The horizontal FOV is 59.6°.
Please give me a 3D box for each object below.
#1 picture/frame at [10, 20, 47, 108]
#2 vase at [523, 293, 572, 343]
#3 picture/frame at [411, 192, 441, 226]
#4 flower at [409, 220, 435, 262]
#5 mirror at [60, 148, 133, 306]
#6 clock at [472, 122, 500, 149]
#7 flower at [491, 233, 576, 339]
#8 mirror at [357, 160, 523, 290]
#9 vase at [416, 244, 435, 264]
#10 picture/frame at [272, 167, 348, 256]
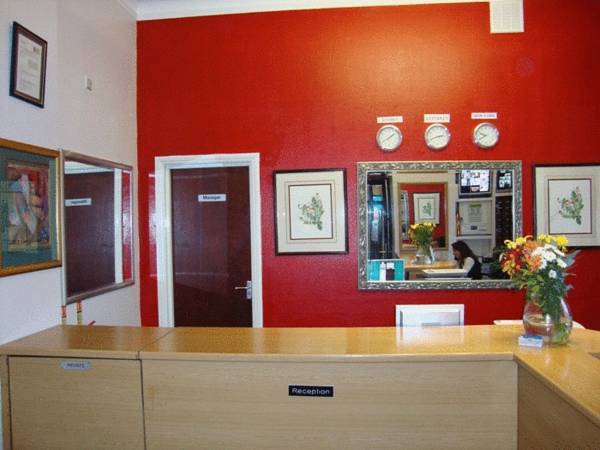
[{"bbox_3d":[-1.982,-1.145,3.780,0.059,0.572,0.307,0,2,20],"label":"picture/frame"},{"bbox_3d":[1.683,0.600,3.532,0.294,0.320,0.293,7,14,33],"label":"vase"},{"bbox_3d":[1.197,-0.141,4.942,0.282,0.389,0.015,1,-7,0],"label":"picture/frame"},{"bbox_3d":[1.161,0.157,4.948,0.218,0.367,0.052,0,2,12],"label":"flower"},{"bbox_3d":[-1.709,0.026,4.691,0.050,1.168,1.146,-4,-1,24],"label":"mirror"},{"bbox_3d":[1.766,-0.851,4.959,0.214,0.261,0.043,-1,-2,3],"label":"clock"},{"bbox_3d":[1.633,0.421,3.815,0.591,0.895,0.610,0,-1,-10],"label":"flower"},{"bbox_3d":[1.365,0.007,4.894,1.084,0.915,0.045,0,1,3],"label":"mirror"},{"bbox_3d":[1.182,0.273,4.958,0.157,0.169,0.155,2,-1,-8],"label":"vase"},{"bbox_3d":[0.119,-0.145,5.020,0.737,0.946,0.038,0,2,5],"label":"picture/frame"}]
